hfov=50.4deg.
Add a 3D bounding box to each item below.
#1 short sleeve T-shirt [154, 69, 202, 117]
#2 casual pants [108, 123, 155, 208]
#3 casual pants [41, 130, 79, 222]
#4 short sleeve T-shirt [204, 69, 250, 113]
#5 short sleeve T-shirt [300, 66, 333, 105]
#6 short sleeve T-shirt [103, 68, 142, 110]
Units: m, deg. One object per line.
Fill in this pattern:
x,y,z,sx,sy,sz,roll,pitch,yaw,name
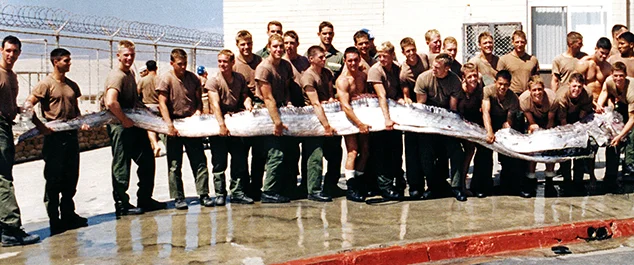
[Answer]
-4.300,-1.205,20.660,0.880,1.360,1.695,23,23,37,short sleeve T-shirt
-5.608,0.942,20.486,1.279,2.446,0.317,-4,5,-14,casual pants
-7.555,1.267,19.955,1.050,2.593,0.327,-5,5,-19,casual pants
-2.912,-1.174,20.770,1.743,1.370,0.857,-17,31,-38,short sleeve T-shirt
-0.106,-1.469,20.964,0.823,1.110,1.441,6,15,26,short sleeve T-shirt
-5.907,-1.308,20.633,0.968,1.282,1.571,2,8,7,short sleeve T-shirt
